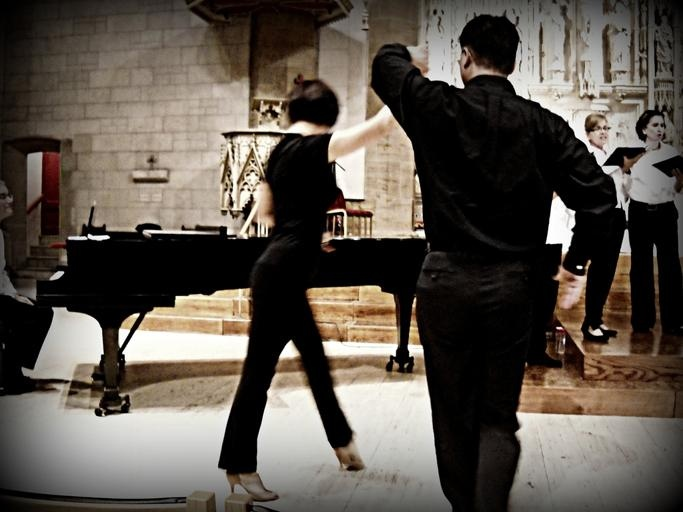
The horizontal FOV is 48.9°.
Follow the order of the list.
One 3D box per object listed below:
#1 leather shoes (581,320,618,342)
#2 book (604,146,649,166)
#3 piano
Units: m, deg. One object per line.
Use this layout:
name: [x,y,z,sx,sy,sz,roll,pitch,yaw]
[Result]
leather shoes: [2.342,0.689,6.854,0.237,0.093,0.181,-4,2,25]
book: [2.545,-0.901,6.786,0.250,0.061,0.231,2,-11,-18]
piano: [-1.350,0.760,6.830,2.330,0.953,2.284,-14,-26,-11]
